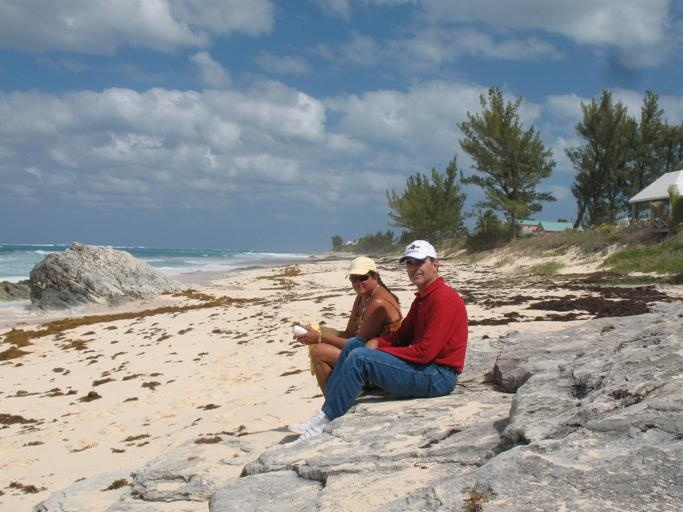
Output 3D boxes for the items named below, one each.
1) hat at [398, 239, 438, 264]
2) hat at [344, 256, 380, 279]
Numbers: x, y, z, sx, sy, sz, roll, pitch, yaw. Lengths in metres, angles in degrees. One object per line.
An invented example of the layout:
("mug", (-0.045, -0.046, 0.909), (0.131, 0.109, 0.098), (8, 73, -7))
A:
("hat", (0.940, -0.039, 6.198), (0.273, 0.187, 0.376), (-8, -13, 34))
("hat", (0.283, 0.142, 6.800), (0.255, 0.167, 0.329), (-6, -11, 18))
